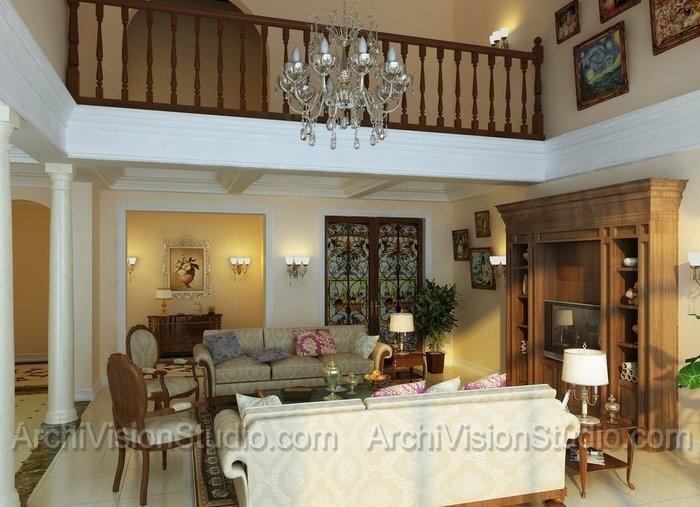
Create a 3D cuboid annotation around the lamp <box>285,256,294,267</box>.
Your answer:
[{"bbox_3d":[-1.218,0.168,9.788,0.159,0.290,0.158,-2,4,-17],"label":"lamp"}]

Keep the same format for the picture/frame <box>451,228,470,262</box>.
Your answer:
[{"bbox_3d":[2.306,-0.187,10.222,0.088,0.763,0.624,-2,3,-19],"label":"picture/frame"}]

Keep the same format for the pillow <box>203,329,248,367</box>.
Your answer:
[{"bbox_3d":[-2.163,1.583,8.433,0.739,0.467,0.762,0,-3,-5],"label":"pillow"}]

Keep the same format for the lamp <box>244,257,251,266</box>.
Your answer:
[{"bbox_3d":[-2.597,0.215,12.328,0.167,0.279,0.164,-2,3,-21],"label":"lamp"}]

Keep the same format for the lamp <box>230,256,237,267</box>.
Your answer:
[{"bbox_3d":[-2.899,0.208,12.290,0.172,0.238,0.221,1,-3,-29],"label":"lamp"}]

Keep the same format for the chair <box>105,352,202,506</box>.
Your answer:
[{"bbox_3d":[-2.257,1.868,5.651,0.970,1.537,1.123,1,-3,-28],"label":"chair"}]

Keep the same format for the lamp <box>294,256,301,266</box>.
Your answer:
[{"bbox_3d":[-1.056,0.130,9.820,0.140,0.288,0.147,0,-2,-12],"label":"lamp"}]

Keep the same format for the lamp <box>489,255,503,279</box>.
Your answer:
[{"bbox_3d":[2.637,0.214,8.858,0.274,0.397,0.538,1,-3,0],"label":"lamp"}]

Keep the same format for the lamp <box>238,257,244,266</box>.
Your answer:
[{"bbox_3d":[-2.703,0.177,12.188,0.139,0.245,0.146,-4,6,-10],"label":"lamp"}]

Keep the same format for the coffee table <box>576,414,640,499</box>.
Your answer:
[{"bbox_3d":[2.743,2.110,5.365,0.624,0.672,0.861,-1,-6,6],"label":"coffee table"}]

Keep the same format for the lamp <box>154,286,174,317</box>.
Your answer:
[{"bbox_3d":[-4.437,1.131,11.698,0.417,0.630,0.434,0,-3,-14],"label":"lamp"}]

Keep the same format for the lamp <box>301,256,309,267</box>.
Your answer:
[{"bbox_3d":[-0.896,0.159,9.888,0.134,0.207,0.186,-1,-3,4],"label":"lamp"}]

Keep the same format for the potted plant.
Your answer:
[{"bbox_3d":[1.766,1.470,10.152,0.877,1.893,0.877,-1,-3,13],"label":"potted plant"}]

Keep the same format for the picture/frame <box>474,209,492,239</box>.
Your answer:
[{"bbox_3d":[2.558,-0.569,9.456,0.075,0.620,0.510,3,-6,-18],"label":"picture/frame"}]

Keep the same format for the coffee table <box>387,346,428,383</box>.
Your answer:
[{"bbox_3d":[1.042,2.060,9.252,0.746,0.759,0.605,2,-5,-24],"label":"coffee table"}]
